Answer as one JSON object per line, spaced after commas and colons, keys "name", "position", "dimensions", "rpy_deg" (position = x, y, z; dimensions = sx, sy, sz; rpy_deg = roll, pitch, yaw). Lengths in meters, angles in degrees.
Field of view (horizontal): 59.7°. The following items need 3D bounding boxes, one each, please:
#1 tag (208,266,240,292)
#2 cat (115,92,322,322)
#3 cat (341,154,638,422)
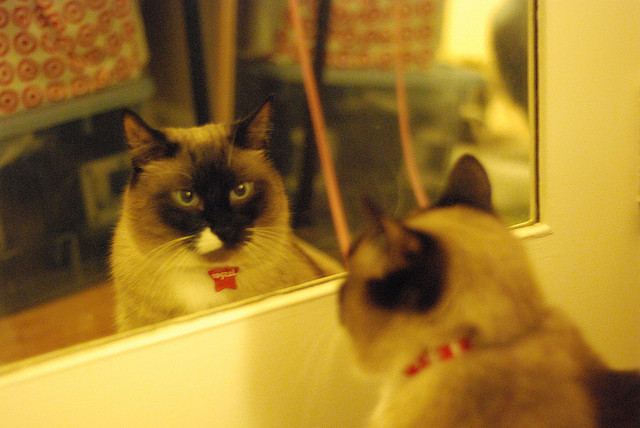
{"name": "tag", "position": [-0.217, 0.143, 1.245], "dimensions": [0.054, 0.045, 0.008], "rpy_deg": [-5, 12, -16]}
{"name": "cat", "position": [-0.302, -0.005, 1.498], "dimensions": [0.470, 0.515, 0.705], "rpy_deg": [-8, 14, -7]}
{"name": "cat", "position": [0.350, 0.162, 1.493], "dimensions": [0.742, 0.582, 0.501], "rpy_deg": [19, 36, 38]}
